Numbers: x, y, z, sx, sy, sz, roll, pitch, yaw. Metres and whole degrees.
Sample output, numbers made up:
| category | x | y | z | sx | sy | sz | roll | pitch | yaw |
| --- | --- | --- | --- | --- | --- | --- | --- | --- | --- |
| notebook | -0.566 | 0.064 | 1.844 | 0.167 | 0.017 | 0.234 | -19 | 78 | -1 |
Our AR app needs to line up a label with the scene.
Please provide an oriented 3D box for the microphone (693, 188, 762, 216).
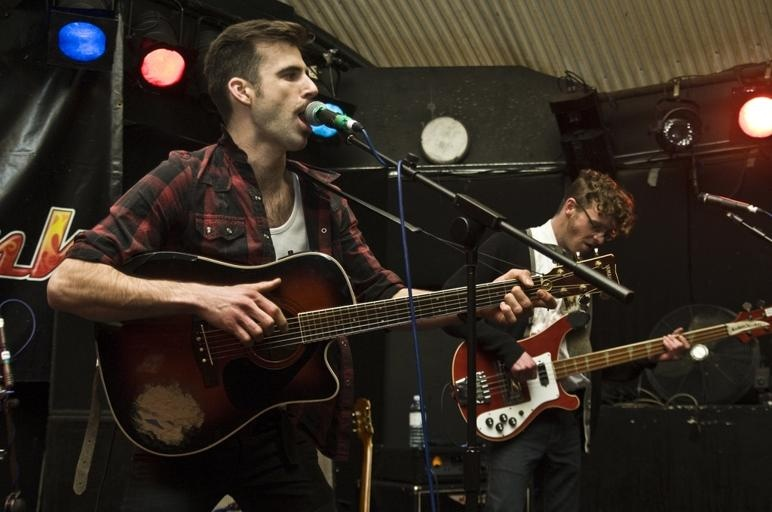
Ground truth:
| category | x | y | z | sx | sy | sz | roll | pitch | yaw |
| --- | --- | --- | --- | --- | --- | --- | --- | --- | --- |
| microphone | 3.179 | -0.505 | 7.088 | 0.819 | 0.156 | 0.158 | 11 | -18 | 20 |

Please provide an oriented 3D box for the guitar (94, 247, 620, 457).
| category | x | y | z | sx | sy | sz | roll | pitch | yaw |
| --- | --- | --- | --- | --- | --- | --- | --- | --- | --- |
| guitar | -0.152 | 0.300 | 4.320 | 2.710 | 1.106 | 0.310 | -11 | 14 | -15 |

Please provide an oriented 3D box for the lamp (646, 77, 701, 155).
| category | x | y | z | sx | sy | sz | roll | pitch | yaw |
| --- | --- | --- | --- | --- | --- | --- | --- | --- | --- |
| lamp | 2.850 | -1.315 | 7.458 | 0.466 | 0.777 | 0.199 | -7 | -18 | 33 |
